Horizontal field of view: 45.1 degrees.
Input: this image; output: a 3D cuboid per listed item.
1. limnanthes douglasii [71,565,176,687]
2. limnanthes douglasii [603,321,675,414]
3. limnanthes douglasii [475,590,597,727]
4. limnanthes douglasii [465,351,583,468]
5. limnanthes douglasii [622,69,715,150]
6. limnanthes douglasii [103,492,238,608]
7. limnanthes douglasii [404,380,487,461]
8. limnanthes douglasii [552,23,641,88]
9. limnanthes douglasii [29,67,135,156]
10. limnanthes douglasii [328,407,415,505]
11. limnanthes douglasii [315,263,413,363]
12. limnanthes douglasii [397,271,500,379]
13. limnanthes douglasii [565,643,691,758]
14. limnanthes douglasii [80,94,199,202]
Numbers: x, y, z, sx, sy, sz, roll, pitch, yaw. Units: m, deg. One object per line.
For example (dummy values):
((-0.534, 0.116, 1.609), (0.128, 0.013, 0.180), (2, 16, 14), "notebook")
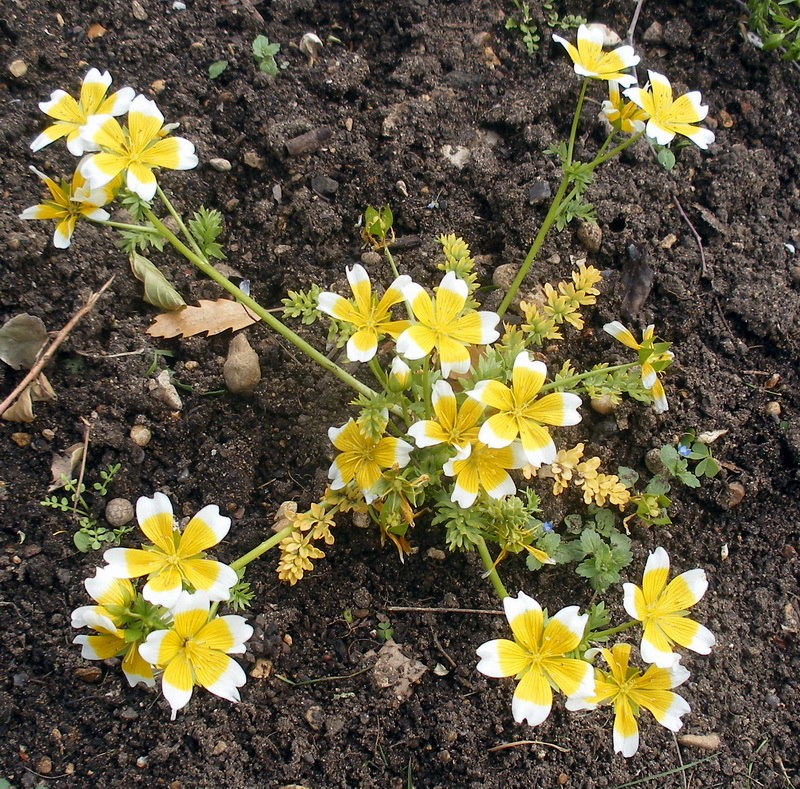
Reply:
((-1.011, 0.812, 3.567), (0.407, 0.389, 0.172), (42, 5, -21), "limnanthes douglasii")
((0.998, -0.144, 4.032), (0.309, 0.159, 0.394), (-4, 62, -36), "limnanthes douglasii")
((0.478, 0.956, 3.435), (0.386, 0.123, 0.494), (4, 46, 7), "limnanthes douglasii")
((0.467, 0.063, 3.539), (0.376, 0.418, 0.126), (-3, 21, 21), "limnanthes douglasii")
((1.077, -1.175, 3.912), (0.344, 0.328, 0.104), (15, 88, -21), "limnanthes douglasii")
((-0.831, 0.573, 3.444), (0.472, 0.141, 0.599), (13, 23, -14), "limnanthes douglasii")
((0.210, 0.122, 3.589), (0.313, 0.137, 0.292), (28, 52, 25), "limnanthes douglasii")
((0.820, -1.354, 3.988), (0.352, 0.127, 0.376), (22, -3, 42), "limnanthes douglasii")
((-1.250, -1.085, 3.760), (0.108, 0.406, 0.417), (57, 11, 2), "limnanthes douglasii")
((-0.138, 0.228, 3.748), (0.107, 0.286, 0.366), (-21, 94, -59), "limnanthes douglasii")
((-0.127, -0.300, 3.658), (0.372, 0.417, 0.131), (24, 48, -38), "limnanthes douglasii")
((0.150, -0.254, 3.548), (0.331, 0.092, 0.419), (6, 79, -16), "limnanthes douglasii")
((0.834, 1.074, 3.573), (0.387, 0.124, 0.426), (15, 13, -26), "limnanthes douglasii")
((-1.007, -0.931, 3.601), (0.427, 0.436, 0.130), (16, 72, -46), "limnanthes douglasii")
